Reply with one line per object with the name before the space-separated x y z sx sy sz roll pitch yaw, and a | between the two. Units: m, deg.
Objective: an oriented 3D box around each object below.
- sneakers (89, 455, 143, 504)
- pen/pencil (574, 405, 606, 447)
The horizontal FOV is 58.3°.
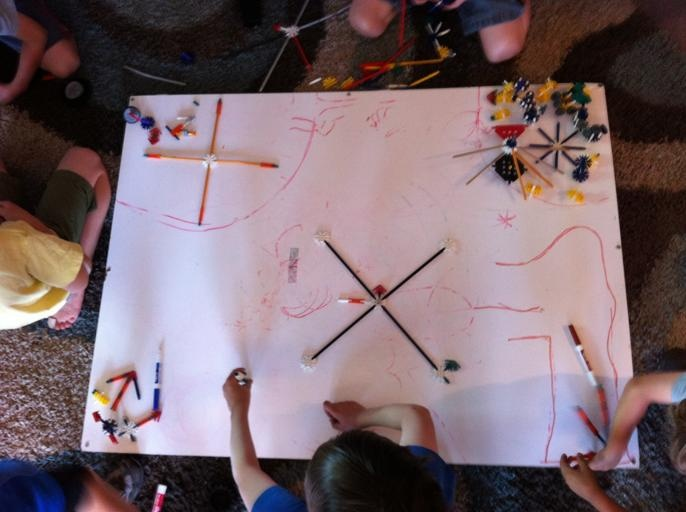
sneakers | -0.937 0.945 2.618 0.086 0.204 0.179 -31 88 16
pen/pencil | 1.012 0.702 2.517 0.026 0.024 0.181 -31 82 -43
